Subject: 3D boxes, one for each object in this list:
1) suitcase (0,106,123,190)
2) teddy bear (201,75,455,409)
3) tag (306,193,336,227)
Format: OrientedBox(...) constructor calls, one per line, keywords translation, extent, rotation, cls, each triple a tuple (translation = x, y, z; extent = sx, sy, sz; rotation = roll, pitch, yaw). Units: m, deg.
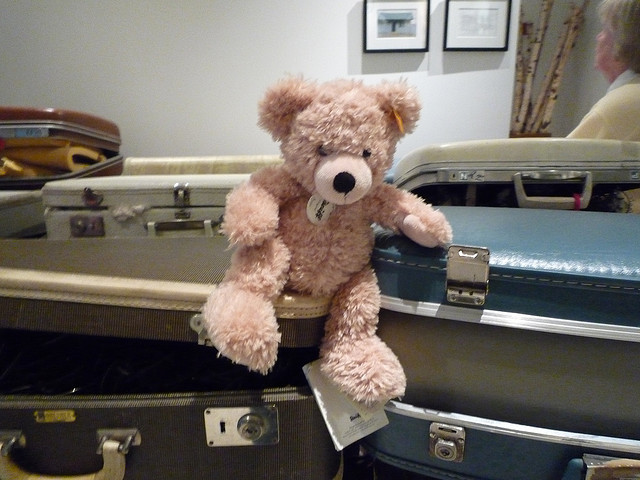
OrientedBox(translation=(-0.860, -0.323, 1.733), extent=(0.162, 0.256, 0.431), rotation=(10, 18, 25), cls="suitcase")
OrientedBox(translation=(0.019, -0.013, 1.016), extent=(0.474, 0.543, 0.497), rotation=(-6, 27, -29), cls="teddy bear")
OrientedBox(translation=(0.002, -0.063, 1.039), extent=(0.062, 0.074, 0.010), rotation=(4, 7, 4), cls="tag")
